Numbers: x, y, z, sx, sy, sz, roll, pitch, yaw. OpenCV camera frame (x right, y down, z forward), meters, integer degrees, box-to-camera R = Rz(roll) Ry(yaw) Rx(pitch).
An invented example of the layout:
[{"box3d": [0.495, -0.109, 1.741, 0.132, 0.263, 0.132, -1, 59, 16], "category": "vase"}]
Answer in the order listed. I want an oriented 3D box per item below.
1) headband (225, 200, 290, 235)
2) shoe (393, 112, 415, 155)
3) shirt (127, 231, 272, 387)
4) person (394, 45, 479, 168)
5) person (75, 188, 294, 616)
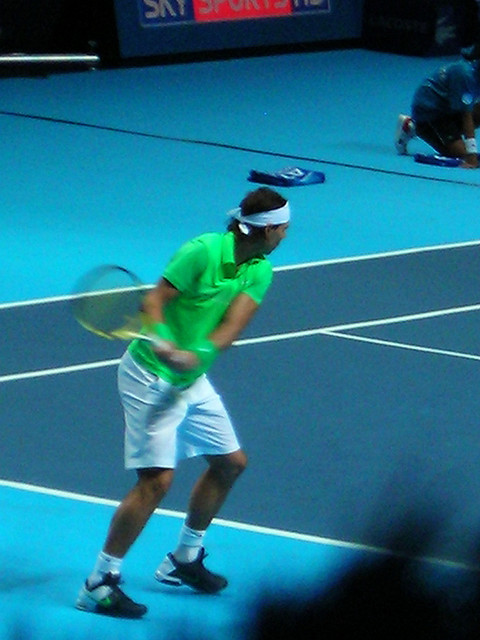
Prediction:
[{"box3d": [0.053, -0.315, 2.005, 0.164, 0.050, 0.141, -3, 6, 9], "category": "headband"}, {"box3d": [1.905, -2.188, 7.296, 0.257, 0.499, 0.164, 4, 45, 3], "category": "shoe"}, {"box3d": [-0.121, -0.031, 1.938, 0.460, 0.484, 0.320, -2, 11, -9], "category": "shirt"}, {"box3d": [2.276, -2.357, 6.974, 0.502, 1.271, 0.851, -10, 14, -41], "category": "person"}, {"box3d": [-0.191, 0.280, 2.031, 0.367, 1.403, 0.663, 10, 15, 44], "category": "person"}]
